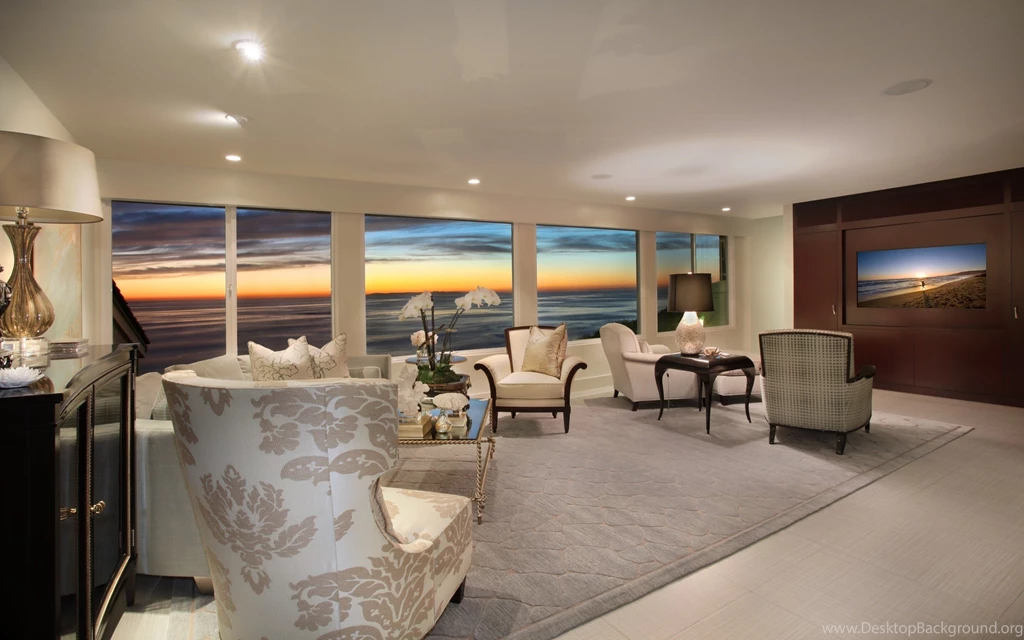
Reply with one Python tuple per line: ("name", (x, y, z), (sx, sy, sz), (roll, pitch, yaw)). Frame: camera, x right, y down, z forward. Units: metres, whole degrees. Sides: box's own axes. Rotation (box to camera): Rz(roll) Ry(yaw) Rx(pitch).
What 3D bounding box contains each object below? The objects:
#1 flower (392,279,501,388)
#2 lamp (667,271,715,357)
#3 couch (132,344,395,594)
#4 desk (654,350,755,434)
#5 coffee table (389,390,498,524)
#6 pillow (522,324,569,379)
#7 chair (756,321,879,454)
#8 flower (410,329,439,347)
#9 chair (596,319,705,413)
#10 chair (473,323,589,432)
("flower", (-0.722, 0.185, 5.523), (1.024, 0.885, 0.934), (-2, -9, 19))
("lamp", (2.317, -0.062, 7.397), (0.693, 1.021, 0.650), (4, -5, -13))
("couch", (-2.030, 1.048, 4.573), (1.484, 1.296, 1.516), (-1, 1, -25))
("desk", (2.089, 0.789, 6.592), (1.122, 0.617, 1.025), (-2, -13, -7))
("coffee table", (-0.549, 1.049, 4.891), (0.865, 0.563, 1.264), (-1, -2, 1))
("pillow", (0.382, 0.339, 6.817), (0.346, 0.554, 0.634), (-7, 6, -40))
("chair", (3.083, 0.651, 5.869), (1.168, 1.129, 1.090), (-4, 5, -21))
("flower", (-0.868, 0.180, 5.668), (0.214, 0.149, 0.214), (9, -6, 31))
("chair", (1.640, 0.566, 7.280), (1.158, 1.010, 1.212), (-2, 2, -9))
("chair", (0.232, 0.637, 6.614), (1.337, 1.012, 1.256), (5, 10, 43))
